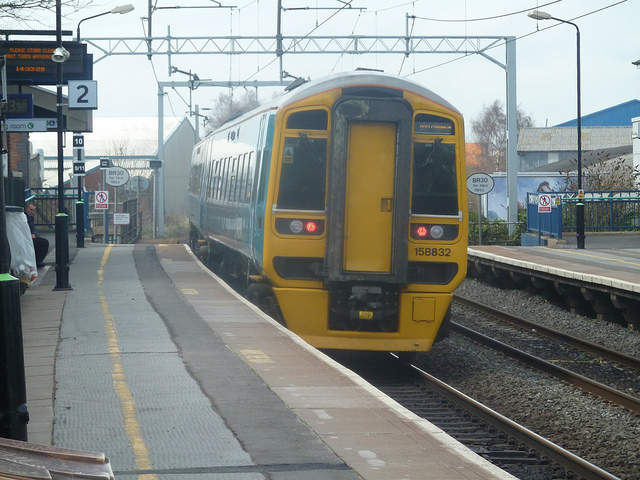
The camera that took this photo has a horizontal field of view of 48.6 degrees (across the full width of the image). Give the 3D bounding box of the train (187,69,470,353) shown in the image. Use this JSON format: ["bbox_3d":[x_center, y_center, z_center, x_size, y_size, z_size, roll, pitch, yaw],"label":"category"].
[{"bbox_3d":[-0.357,-0.457,13.160,2.683,3.325,6.780,3,2,-23],"label":"train"}]

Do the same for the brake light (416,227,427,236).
[{"bbox_3d":[1.528,-0.111,10.749,0.127,0.128,0.018,0,-1,-6],"label":"brake light"}]

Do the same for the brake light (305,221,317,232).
[{"bbox_3d":[-0.137,-0.181,10.729,0.160,0.114,0.025,4,2,-5],"label":"brake light"}]

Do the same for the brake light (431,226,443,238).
[{"bbox_3d":[1.784,-0.103,10.810,0.190,0.140,0.018,3,2,-19],"label":"brake light"}]
